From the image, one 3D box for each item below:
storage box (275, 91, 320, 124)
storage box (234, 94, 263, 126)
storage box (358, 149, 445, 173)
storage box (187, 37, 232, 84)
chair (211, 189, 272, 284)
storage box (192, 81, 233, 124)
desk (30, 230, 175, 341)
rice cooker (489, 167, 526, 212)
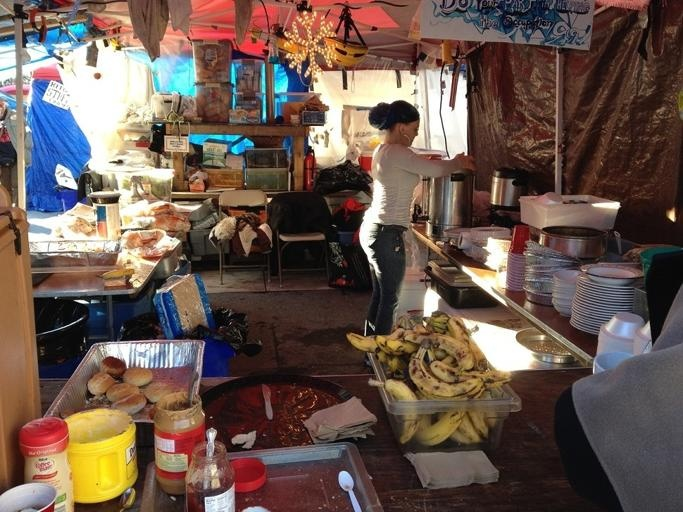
[{"bbox_3d":[-0.611,-2.033,7.032,0.653,0.362,0.623,-3,11,-11],"label":"storage box"},{"bbox_3d":[-1.167,-1.863,6.828,0.519,0.439,0.388,1,10,-6],"label":"storage box"},{"bbox_3d":[0.868,-1.437,7.907,1.120,0.418,0.699,-3,12,-4],"label":"storage box"},{"bbox_3d":[-1.601,-2.456,6.521,0.551,0.473,0.519,-1,19,-8],"label":"storage box"},{"bbox_3d":[-1.254,-0.253,6.639,0.764,1.139,0.950,-3,18,-7],"label":"chair"},{"bbox_3d":[-1.617,-1.949,6.622,0.526,0.441,0.494,1,12,-5],"label":"storage box"},{"bbox_3d":[-1.629,0.273,3.622,0.770,0.265,1.198,1,12,-4],"label":"desk"},{"bbox_3d":[1.420,-0.565,4.356,0.320,0.309,0.339,-6,16,-28],"label":"rice cooker"}]
